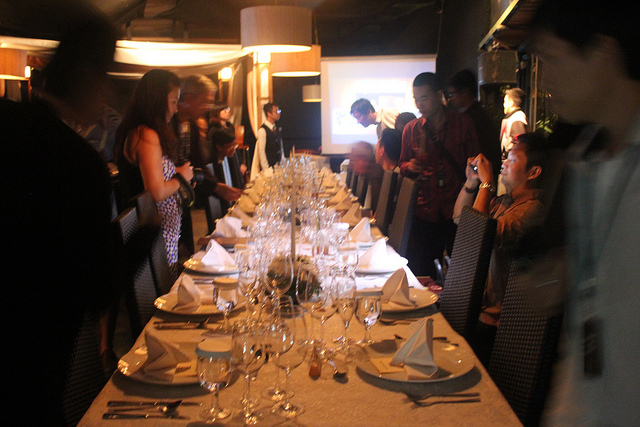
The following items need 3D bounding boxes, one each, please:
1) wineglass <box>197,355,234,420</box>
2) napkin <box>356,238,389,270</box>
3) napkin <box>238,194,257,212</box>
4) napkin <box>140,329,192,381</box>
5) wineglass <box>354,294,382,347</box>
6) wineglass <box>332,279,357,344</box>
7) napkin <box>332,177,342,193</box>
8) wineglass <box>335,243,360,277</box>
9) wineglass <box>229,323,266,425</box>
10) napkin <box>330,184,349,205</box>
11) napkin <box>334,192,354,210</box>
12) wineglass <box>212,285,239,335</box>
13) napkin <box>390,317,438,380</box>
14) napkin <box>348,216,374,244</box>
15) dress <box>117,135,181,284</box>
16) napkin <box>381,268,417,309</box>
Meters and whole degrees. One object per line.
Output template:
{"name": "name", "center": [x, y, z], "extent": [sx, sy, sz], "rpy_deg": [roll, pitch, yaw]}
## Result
{"name": "wineglass", "center": [-0.319, 0.488, 1.515], "extent": [0.102, 0.211, 0.196], "rpy_deg": [-3, 14, -14]}
{"name": "napkin", "center": [0.279, 0.224, 2.711], "extent": [0.146, 0.158, 0.169], "rpy_deg": [3, 6, -7]}
{"name": "napkin", "center": [-0.668, -0.097, 4.520], "extent": [0.068, 0.143, 0.233], "rpy_deg": [-10, -12, -14]}
{"name": "napkin", "center": [-0.523, 0.467, 1.674], "extent": [0.136, 0.117, 0.141], "rpy_deg": [4, 14, 16]}
{"name": "wineglass", "center": [0.177, 0.387, 1.880], "extent": [0.090, 0.216, 0.162], "rpy_deg": [1, 14, 5]}
{"name": "wineglass", "center": [0.091, 0.363, 1.900], "extent": [0.088, 0.259, 0.183], "rpy_deg": [0, 14, -2]}
{"name": "napkin", "center": [0.210, -0.331, 5.835], "extent": [0.132, 0.247, 0.127], "rpy_deg": [-2, 3, 4]}
{"name": "wineglass", "center": [0.129, 0.217, 2.235], "extent": [0.100, 0.124, 0.105], "rpy_deg": [0, 3, 23]}
{"name": "wineglass", "center": [-0.215, 0.466, 1.505], "extent": [0.104, 0.244, 0.222], "rpy_deg": [-2, 14, -8]}
{"name": "napkin", "center": [0.218, -0.195, 4.921], "extent": [0.183, 0.217, 0.358], "rpy_deg": [0, -10, -8]}
{"name": "napkin", "center": [0.215, -0.111, 4.543], "extent": [0.091, 0.105, 0.179], "rpy_deg": [29, 54, 0]}
{"name": "wineglass", "center": [-0.365, 0.366, 1.938], "extent": [0.090, 0.188, 0.277], "rpy_deg": [-2, 14, -9]}
{"name": "napkin", "center": [0.337, 0.467, 1.748], "extent": [0.154, 0.161, 0.176], "rpy_deg": [9, 0, 17]}
{"name": "napkin", "center": [0.264, 0.104, 3.290], "extent": [0.169, 0.150, 0.147], "rpy_deg": [7, 0, -32]}
{"name": "dress", "center": [-1.200, 0.018, 3.588], "extent": [0.414, 1.149, 0.680], "rpy_deg": [-5, 15, -21]}
{"name": "napkin", "center": [0.351, 0.355, 2.284], "extent": [0.152, 0.163, 0.143], "rpy_deg": [-3, -8, 43]}
